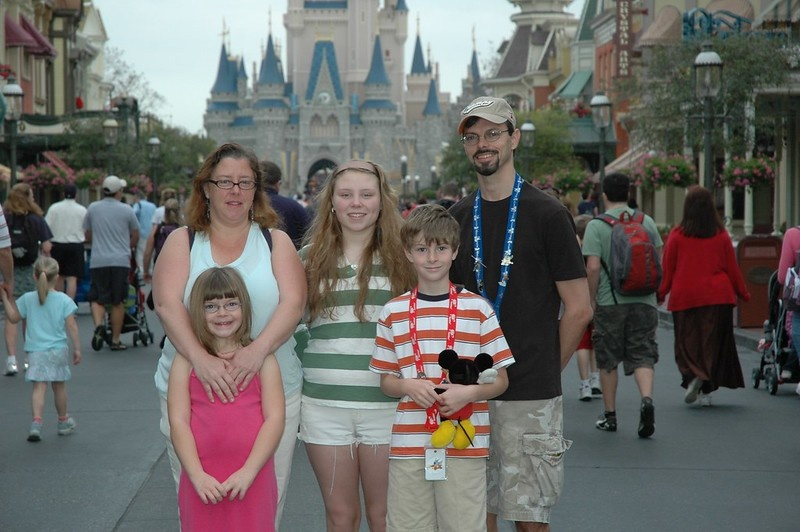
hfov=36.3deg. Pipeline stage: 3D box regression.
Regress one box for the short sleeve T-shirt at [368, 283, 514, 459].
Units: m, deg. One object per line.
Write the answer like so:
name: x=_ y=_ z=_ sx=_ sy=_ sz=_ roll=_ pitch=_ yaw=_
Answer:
short sleeve T-shirt: x=0.387 y=0.984 z=10.955 sx=1.462 sy=1.716 sz=0.644 roll=0 pitch=-7 yaw=0

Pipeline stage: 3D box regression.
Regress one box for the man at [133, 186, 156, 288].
man: x=-5.568 y=-0.560 z=27.624 sx=0.611 sy=1.893 sz=0.552 roll=18 pitch=34 yaw=4

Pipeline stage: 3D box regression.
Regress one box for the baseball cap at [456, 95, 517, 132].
baseball cap: x=0.819 y=-1.421 z=11.382 sx=0.468 sy=0.332 sz=0.640 roll=-7 pitch=-6 yaw=25

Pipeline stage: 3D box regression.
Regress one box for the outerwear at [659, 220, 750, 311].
outerwear: x=4.007 y=0.027 z=15.885 sx=1.336 sy=1.218 sz=0.538 roll=-3 pitch=10 yaw=7

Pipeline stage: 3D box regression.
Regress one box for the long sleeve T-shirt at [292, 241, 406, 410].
long sleeve T-shirt: x=-0.433 y=0.593 z=11.197 sx=1.358 sy=1.680 sz=0.599 roll=2 pitch=-7 yaw=1

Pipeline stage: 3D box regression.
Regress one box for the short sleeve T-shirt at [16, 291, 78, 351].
short sleeve T-shirt: x=-4.338 y=0.656 z=14.979 sx=0.781 sy=0.795 sz=0.445 roll=3 pitch=2 yaw=-6

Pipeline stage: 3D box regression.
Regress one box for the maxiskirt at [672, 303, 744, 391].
maxiskirt: x=3.952 y=1.042 z=15.923 sx=1.077 sy=1.331 sz=0.980 roll=-3 pitch=1 yaw=3

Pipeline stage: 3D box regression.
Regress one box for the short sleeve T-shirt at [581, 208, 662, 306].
short sleeve T-shirt: x=2.643 y=-0.081 z=14.433 sx=1.097 sy=1.332 sz=0.745 roll=-1 pitch=-3 yaw=-11

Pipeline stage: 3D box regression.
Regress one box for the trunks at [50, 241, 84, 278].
trunks: x=-5.455 y=-0.123 z=19.907 sx=0.491 sy=0.667 sz=0.366 roll=-3 pitch=15 yaw=-18

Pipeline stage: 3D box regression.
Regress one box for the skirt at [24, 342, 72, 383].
skirt: x=-4.232 y=1.288 z=14.692 sx=0.588 sy=0.500 sz=0.384 roll=6 pitch=-39 yaw=-18

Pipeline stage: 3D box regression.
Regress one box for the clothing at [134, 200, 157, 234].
clothing: x=-5.856 y=-1.136 z=27.569 sx=0.387 sy=0.712 sz=0.594 roll=-9 pitch=0 yaw=9

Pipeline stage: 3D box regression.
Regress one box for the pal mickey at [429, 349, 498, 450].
pal mickey: x=0.552 y=1.173 z=10.834 sx=0.813 sy=1.016 sz=0.424 roll=3 pitch=0 yaw=-3

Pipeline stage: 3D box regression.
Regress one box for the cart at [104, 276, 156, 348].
cart: x=-4.504 y=0.721 z=19.750 sx=0.626 sy=1.115 sz=0.761 roll=0 pitch=-3 yaw=-19

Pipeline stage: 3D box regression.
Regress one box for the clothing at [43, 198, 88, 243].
clothing: x=-5.646 y=-0.788 z=20.828 sx=0.888 sy=0.822 sz=0.438 roll=3 pitch=11 yaw=-6

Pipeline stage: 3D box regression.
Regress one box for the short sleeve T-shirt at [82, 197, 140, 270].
short sleeve T-shirt: x=-4.585 y=-0.561 z=19.301 sx=0.866 sy=1.109 sz=0.390 roll=1 pitch=12 yaw=-12
